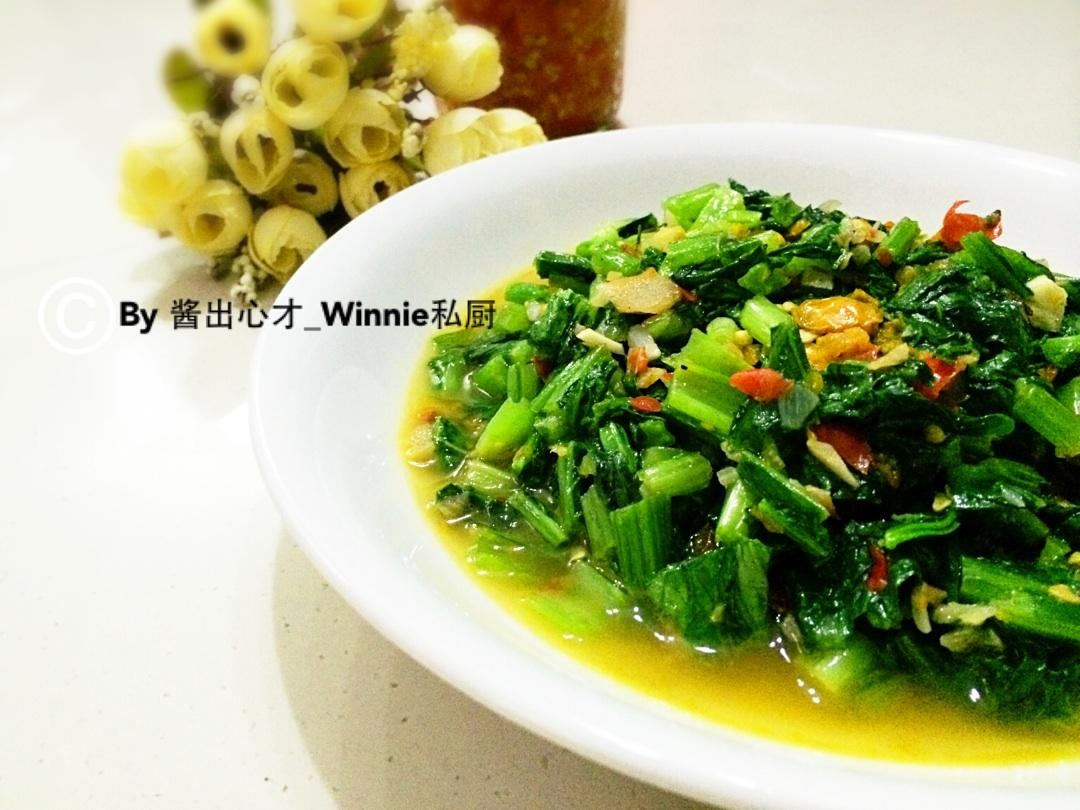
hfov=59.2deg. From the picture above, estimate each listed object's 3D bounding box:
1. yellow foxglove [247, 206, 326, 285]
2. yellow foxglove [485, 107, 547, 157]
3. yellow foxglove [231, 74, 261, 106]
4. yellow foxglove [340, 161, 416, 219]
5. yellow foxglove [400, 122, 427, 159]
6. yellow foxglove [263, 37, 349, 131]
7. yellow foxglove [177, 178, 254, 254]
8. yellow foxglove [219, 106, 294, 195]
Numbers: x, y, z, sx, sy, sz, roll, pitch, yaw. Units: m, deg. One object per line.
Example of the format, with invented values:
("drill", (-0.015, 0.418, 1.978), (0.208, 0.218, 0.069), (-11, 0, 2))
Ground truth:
("yellow foxglove", (-1.193, -0.730, 4.553), (0.347, 0.380, 0.282), (-9, 91, -3))
("yellow foxglove", (-0.125, -1.317, 4.585), (0.290, 0.087, 0.226), (13, 84, -10))
("yellow foxglove", (-1.314, -1.401, 4.241), (0.134, 0.067, 0.143), (-1, 87, 2))
("yellow foxglove", (-0.771, -1.035, 4.643), (0.306, 0.358, 0.219), (-3, 102, 15))
("yellow foxglove", (-0.589, -1.233, 4.441), (0.064, 0.123, 0.158), (9, 99, 43))
("yellow foxglove", (-1.039, -1.446, 4.263), (0.285, 0.292, 0.422), (19, 62, 19))
("yellow foxglove", (-1.513, -0.861, 4.423), (0.274, 0.353, 0.287), (28, 127, 10))
("yellow foxglove", (-1.289, -1.167, 4.358), (0.315, 0.136, 0.369), (11, 86, -4))
